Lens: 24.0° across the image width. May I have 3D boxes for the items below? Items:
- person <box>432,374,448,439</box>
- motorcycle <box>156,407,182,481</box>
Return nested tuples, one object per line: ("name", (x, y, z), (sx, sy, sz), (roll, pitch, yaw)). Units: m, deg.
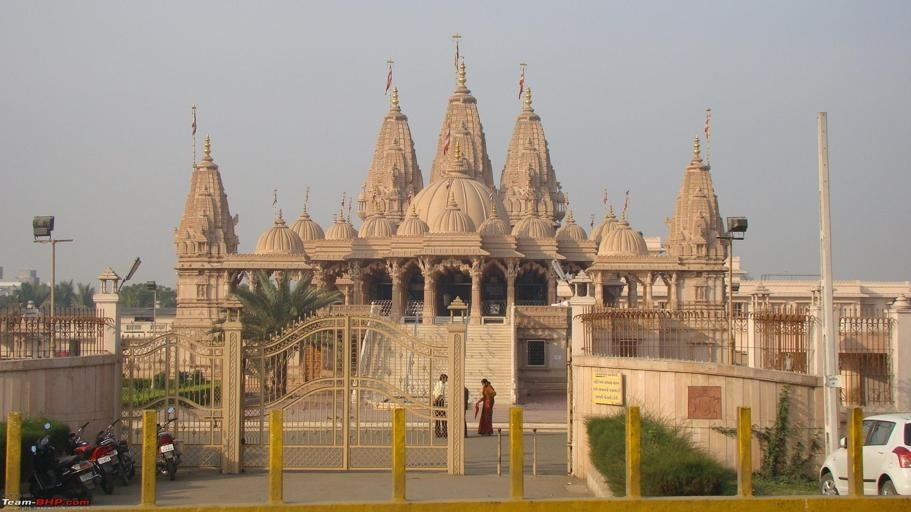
("person", (-0.473, 4.356, 63.553), (0.664, 1.754, 0.562), (-1, -4, -8))
("motorcycle", (-8.268, 5.358, 61.423), (0.666, 2.067, 1.788), (0, -5, -8))
